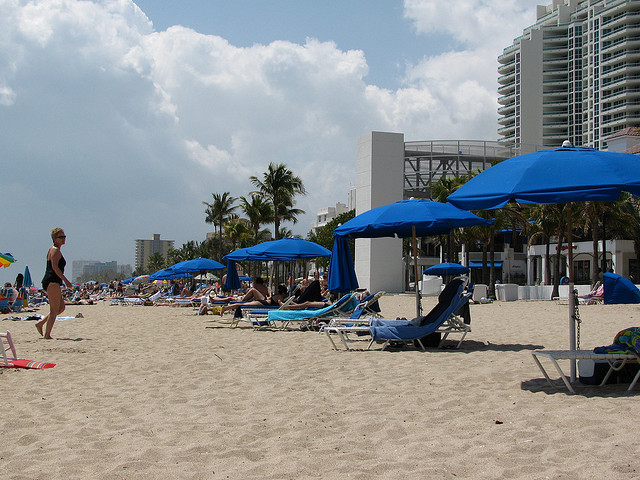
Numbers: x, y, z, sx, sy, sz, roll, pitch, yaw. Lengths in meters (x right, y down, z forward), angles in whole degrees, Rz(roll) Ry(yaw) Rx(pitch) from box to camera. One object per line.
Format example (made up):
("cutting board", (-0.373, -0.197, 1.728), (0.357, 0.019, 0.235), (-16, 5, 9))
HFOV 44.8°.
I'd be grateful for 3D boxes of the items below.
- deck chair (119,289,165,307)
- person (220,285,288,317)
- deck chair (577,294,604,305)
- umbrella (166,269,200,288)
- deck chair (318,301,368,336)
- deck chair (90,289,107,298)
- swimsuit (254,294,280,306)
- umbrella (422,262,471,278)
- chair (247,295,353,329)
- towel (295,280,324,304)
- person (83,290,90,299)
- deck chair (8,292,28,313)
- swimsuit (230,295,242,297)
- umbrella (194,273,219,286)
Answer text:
("deck chair", (-7.203, 2.387, 31.111), (1.270, 0.611, 0.785), (4, -1, 7))
("person", (-1.322, 1.312, 16.634), (0.929, 0.485, 0.764), (-2, -3, 6))
("deck chair", (8.557, 1.882, 24.451), (1.081, 0.299, 1.139), (-2, -2, 41))
("umbrella", (-7.049, 1.975, 39.797), (1.585, 1.548, 1.597), (1, -8, -22))
("deck chair", (0.401, 1.435, 13.734), (0.687, 0.695, 0.744), (0, 2, -21))
("deck chair", (-13.515, 3.241, 46.841), (0.809, 0.203, 0.775), (-27, -5, -37))
("swimsuit", (-1.145, 1.316, 16.519), (0.290, 0.175, 0.251), (10, 7, 9))
("umbrella", (5.642, 1.345, 34.623), (1.165, 0.451, 1.273), (4, -12, -11))
("chair", (-0.498, 1.490, 14.818), (1.449, 0.550, 0.995), (1, -4, -4))
("towel", (-0.200, 1.106, 16.091), (0.391, 0.196, 0.517), (21, -48, -33))
("person", (-11.624, 2.713, 38.375), (0.373, 0.609, 1.084), (3, -6, -17))
("deck chair", (-10.034, 2.068, 25.514), (0.384, 0.593, 1.162), (-2, 4, -16))
("swimsuit", (-3.151, 2.061, 28.707), (0.340, 0.090, 0.340), (1, -3, -15))
("umbrella", (-5.422, 1.811, 37.486), (0.844, 0.648, 0.880), (2, 2, 35))
